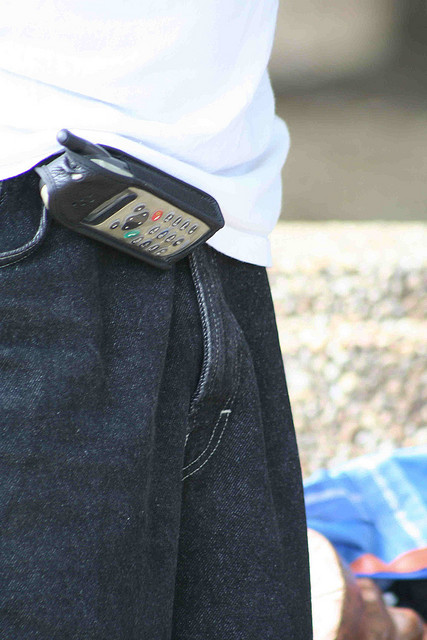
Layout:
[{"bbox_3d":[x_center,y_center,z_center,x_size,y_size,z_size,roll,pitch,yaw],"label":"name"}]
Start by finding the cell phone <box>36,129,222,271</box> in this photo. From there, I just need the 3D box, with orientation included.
[{"bbox_3d":[-0.047,-0.062,0.354,0.032,0.111,0.038,-56,48,18],"label":"cell phone"}]
